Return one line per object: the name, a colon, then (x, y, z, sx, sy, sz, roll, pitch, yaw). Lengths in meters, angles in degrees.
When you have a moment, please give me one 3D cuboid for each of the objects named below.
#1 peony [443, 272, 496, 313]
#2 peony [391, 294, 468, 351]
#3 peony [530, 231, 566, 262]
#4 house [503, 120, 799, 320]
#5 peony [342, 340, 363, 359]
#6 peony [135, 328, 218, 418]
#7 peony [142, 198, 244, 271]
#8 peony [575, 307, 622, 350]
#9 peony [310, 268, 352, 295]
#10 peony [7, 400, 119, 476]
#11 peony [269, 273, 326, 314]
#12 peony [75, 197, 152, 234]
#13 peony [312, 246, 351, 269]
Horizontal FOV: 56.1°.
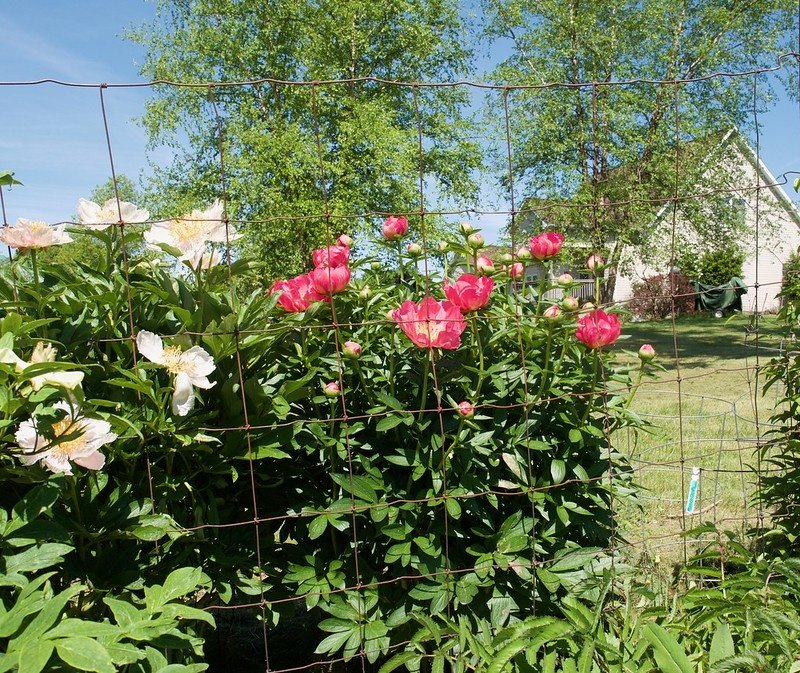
peony: (0.217, -0.160, 2.442, 0.126, 0.092, 0.135, -8, 15, 8)
peony: (0.095, -0.034, 2.385, 0.186, 0.088, 0.182, -13, 52, -23)
peony: (0.531, -0.330, 2.730, 0.108, 0.087, 0.101, 0, 8, -5)
house: (4.077, -2.101, 12.316, 4.772, 2.777, 4.768, 0, 0, -8)
peony: (-0.155, 0.041, 2.443, 0.046, 0.043, 0.056, 4, -4, -7)
peony: (-0.671, 0.058, 2.283, 0.254, 0.129, 0.253, 31, 26, -28)
peony: (-0.653, -0.319, 2.394, 0.260, 0.110, 0.261, -30, 41, -33)
peony: (0.665, -0.032, 2.603, 0.127, 0.140, 0.146, -1, 8, 38)
peony: (-0.222, -0.187, 2.461, 0.100, 0.087, 0.087, 4, 11, 36)
peony: (-0.936, 0.316, 2.105, 0.228, 0.136, 0.232, 11, 9, 11)
peony: (-0.373, -0.152, 2.588, 0.280, 0.121, 0.112, 2, 1, 33)
peony: (-0.937, -0.408, 2.480, 0.370, 0.095, 0.213, 2, 1, 41)
peony: (-0.226, -0.264, 2.477, 0.095, 0.057, 0.085, -2, 6, -3)
